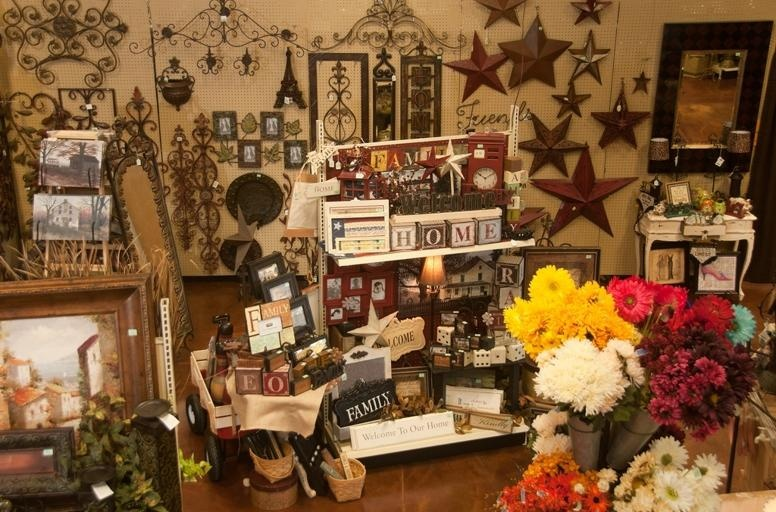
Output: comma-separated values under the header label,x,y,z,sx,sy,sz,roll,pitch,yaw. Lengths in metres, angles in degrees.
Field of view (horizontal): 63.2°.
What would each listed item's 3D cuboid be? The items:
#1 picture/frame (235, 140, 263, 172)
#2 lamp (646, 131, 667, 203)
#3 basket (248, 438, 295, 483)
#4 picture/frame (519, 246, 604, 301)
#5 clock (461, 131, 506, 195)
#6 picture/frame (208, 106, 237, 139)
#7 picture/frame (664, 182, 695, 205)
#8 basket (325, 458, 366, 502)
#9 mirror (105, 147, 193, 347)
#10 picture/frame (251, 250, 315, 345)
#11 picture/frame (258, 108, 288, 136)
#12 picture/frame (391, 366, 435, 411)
label,x,y,z,sx,sy,sz,roll,pitch,yaw
picture/frame,-1.968,-1.443,8.937,0.395,0.475,0.048,1,23,0
lamp,3.762,-1.156,8.810,0.288,0.861,0.290,6,4,22
basket,-0.959,1.882,5.798,0.299,0.260,0.356,-12,16,13
picture/frame,1.473,0.131,5.461,0.561,0.406,0.065,-1,9,-6
clock,1.022,-0.979,6.671,0.454,0.636,0.462,9,16,27
picture/frame,-2.315,-1.893,8.817,0.382,0.456,0.046,-1,11,-7
picture/frame,4.046,-0.858,8.744,0.313,0.370,0.026,4,2,-6
basket,-0.379,2.061,5.781,0.346,0.322,0.272,-4,6,-5
mirror,-2.980,-0.268,7.810,0.597,2.534,0.101,-13,15,-22
picture/frame,-0.950,0.368,5.703,0.503,0.779,0.456,-7,7,-31
picture/frame,-1.607,-1.895,8.804,0.347,0.406,0.042,-1,13,-6
picture/frame,0.239,1.354,6.387,0.415,0.362,0.030,2,-9,-15
